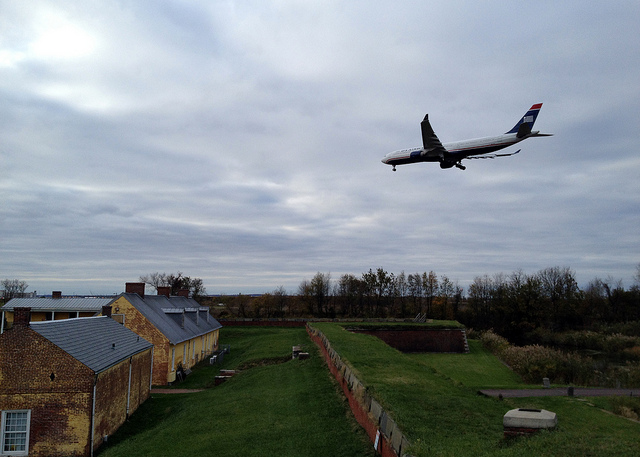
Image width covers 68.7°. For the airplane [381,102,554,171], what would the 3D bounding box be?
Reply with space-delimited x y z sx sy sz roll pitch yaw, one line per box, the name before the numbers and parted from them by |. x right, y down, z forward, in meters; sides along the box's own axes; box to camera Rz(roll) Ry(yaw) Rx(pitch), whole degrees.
airplane | 12.383 -7.990 43.275 13.626 5.929 6.199 -4 -2 35
